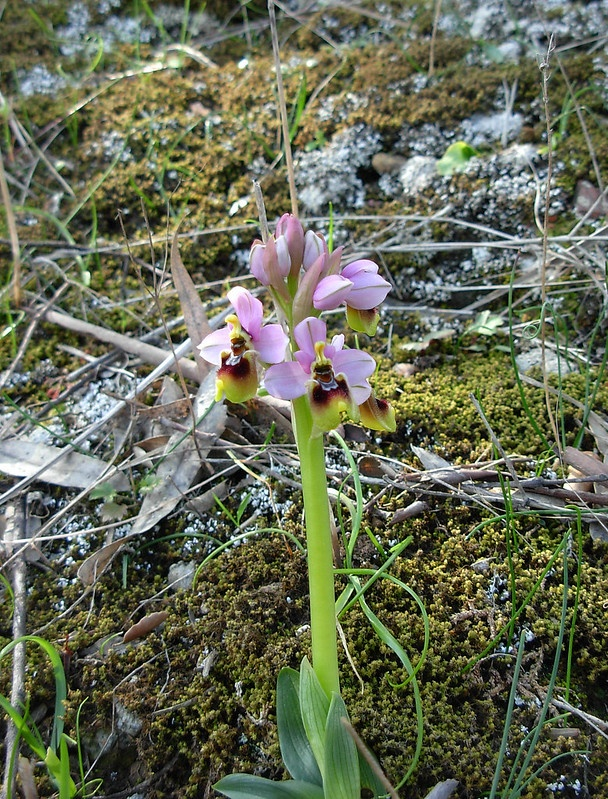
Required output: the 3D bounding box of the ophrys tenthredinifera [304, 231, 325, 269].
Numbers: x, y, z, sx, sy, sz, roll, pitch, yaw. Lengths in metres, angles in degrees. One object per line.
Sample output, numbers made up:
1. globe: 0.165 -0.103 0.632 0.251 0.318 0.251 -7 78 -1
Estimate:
1. ophrys tenthredinifera: 0.026 -0.332 1.558 0.066 0.077 0.026 2 -3 -17
